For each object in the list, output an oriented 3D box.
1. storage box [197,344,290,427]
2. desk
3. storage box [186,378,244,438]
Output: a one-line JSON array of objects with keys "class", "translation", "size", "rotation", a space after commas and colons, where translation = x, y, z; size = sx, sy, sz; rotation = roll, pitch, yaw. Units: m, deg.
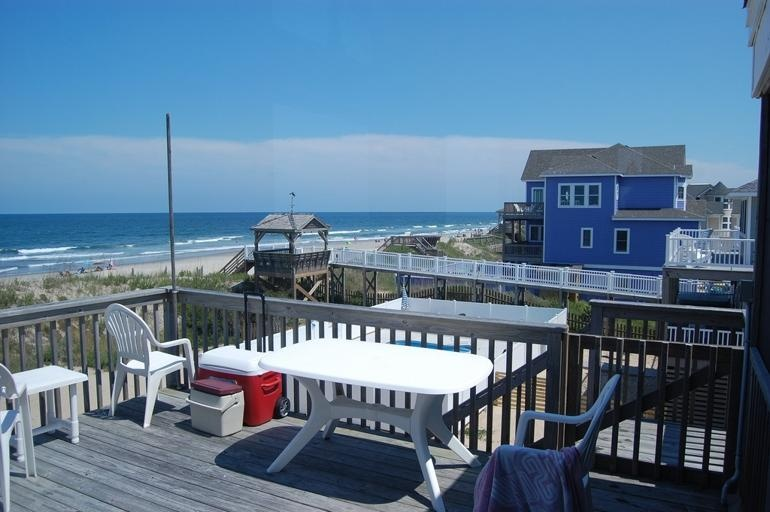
[{"class": "storage box", "translation": [-1.567, 1.299, 7.110], "size": [1.169, 0.880, 0.767], "rotation": [1, 3, 35]}, {"class": "desk", "translation": [-0.038, 1.585, 5.987], "size": [2.035, 1.411, 1.066], "rotation": [1, 7, 22]}, {"class": "storage box", "translation": [-1.795, 1.543, 6.820], "size": [0.767, 0.584, 0.507], "rotation": [4, 6, 35]}]
